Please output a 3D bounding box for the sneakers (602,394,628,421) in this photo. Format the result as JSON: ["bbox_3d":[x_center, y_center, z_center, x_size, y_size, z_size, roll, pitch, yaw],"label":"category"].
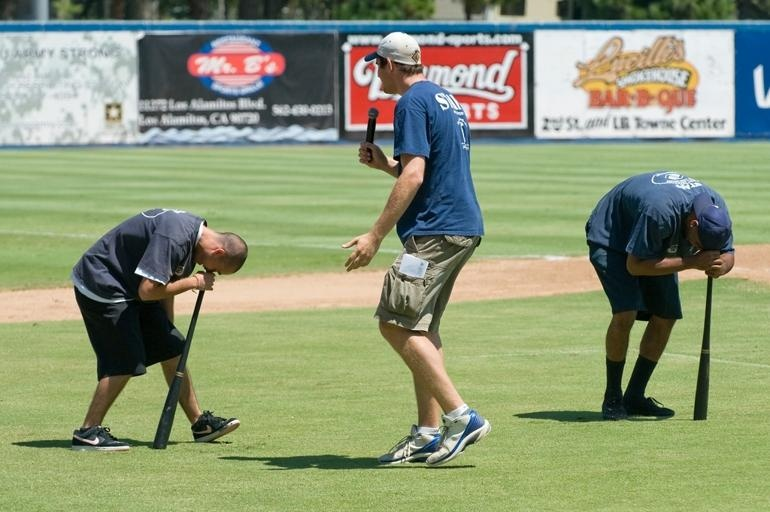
[{"bbox_3d":[2.674,1.771,18.854,0.280,0.258,0.146,0,5,5],"label":"sneakers"}]

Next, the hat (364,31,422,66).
[{"bbox_3d":[0.101,-2.336,18.137,0.612,0.258,0.372,11,20,16],"label":"hat"}]
